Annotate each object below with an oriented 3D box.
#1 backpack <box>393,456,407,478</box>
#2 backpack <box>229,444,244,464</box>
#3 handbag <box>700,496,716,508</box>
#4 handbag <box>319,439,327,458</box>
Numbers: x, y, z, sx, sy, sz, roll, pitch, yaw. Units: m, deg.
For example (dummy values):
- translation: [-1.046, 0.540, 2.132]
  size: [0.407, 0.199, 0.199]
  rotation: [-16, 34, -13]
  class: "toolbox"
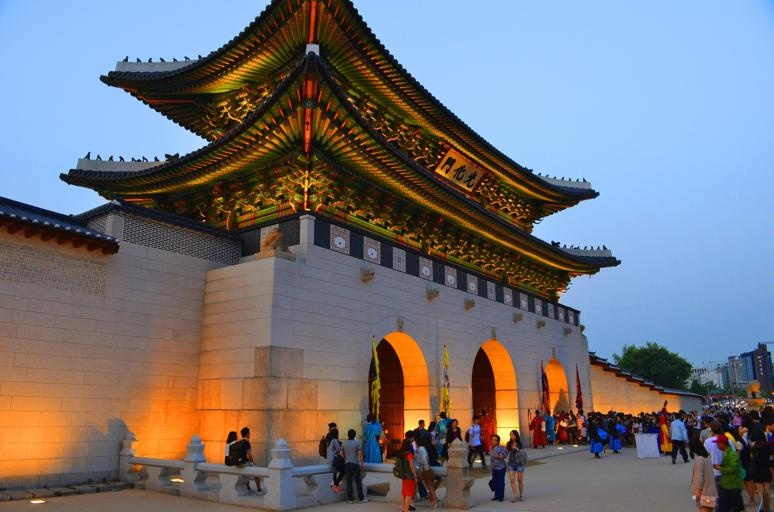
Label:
- translation: [0.342, 5.919, 16.772]
  size: [0.241, 0.540, 0.551]
  rotation: [7, -22, -16]
  class: "backpack"
- translation: [-4.403, 5.785, 17.481]
  size: [0.471, 0.662, 0.371]
  rotation: [-5, -14, 17]
  class: "backpack"
- translation: [7.701, 5.871, 14.354]
  size: [0.395, 0.270, 0.216]
  rotation: [-2, -21, 7]
  class: "handbag"
- translation: [-1.999, 5.932, 18.637]
  size: [0.148, 0.525, 0.795]
  rotation: [5, -22, -12]
  class: "handbag"
